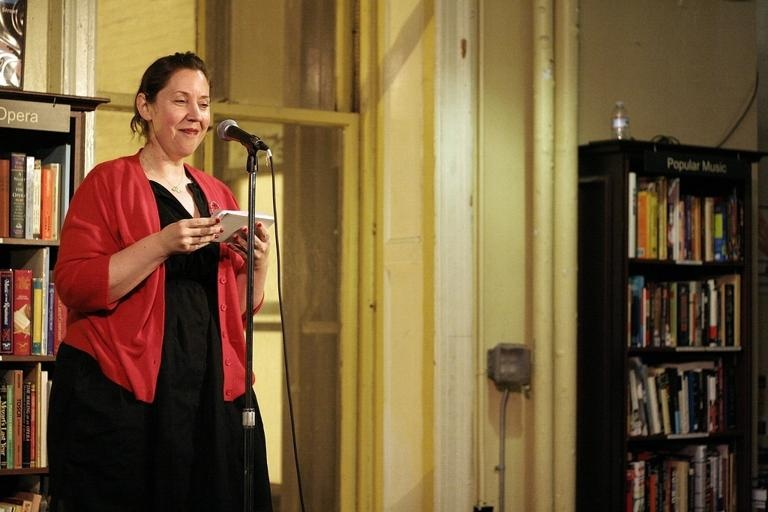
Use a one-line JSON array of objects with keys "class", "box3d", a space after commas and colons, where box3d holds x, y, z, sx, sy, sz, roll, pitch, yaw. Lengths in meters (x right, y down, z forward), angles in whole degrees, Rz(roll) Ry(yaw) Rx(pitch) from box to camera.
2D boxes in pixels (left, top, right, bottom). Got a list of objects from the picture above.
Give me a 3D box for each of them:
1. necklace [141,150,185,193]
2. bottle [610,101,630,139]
[{"class": "necklace", "box3d": [-1.035, -0.397, 5.965, 0.163, 0.100, 0.204, 36, -7, -40]}, {"class": "bottle", "box3d": [1.352, -0.784, 7.455, 0.093, 0.237, 0.238, -1, -4, 10]}]
